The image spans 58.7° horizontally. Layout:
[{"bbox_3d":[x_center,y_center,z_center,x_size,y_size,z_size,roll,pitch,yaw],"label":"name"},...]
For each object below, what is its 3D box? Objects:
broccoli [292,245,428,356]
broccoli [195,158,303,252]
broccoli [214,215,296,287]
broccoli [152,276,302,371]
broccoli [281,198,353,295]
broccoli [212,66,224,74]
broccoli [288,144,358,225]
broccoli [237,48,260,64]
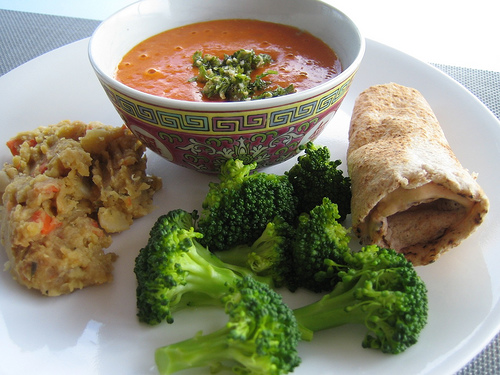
[{"bbox_3d":[0.447,0.549,2.078,0.691,0.497,0.486,-11,-2,20],"label":"broccoli"},{"bbox_3d":[0.299,-0.043,2.375,0.400,0.258,0.539,-16,25,-24],"label":"broccoli"},{"bbox_3d":[0.065,0.325,2.224,0.432,0.249,0.375,-6,32,24],"label":"broccoli"},{"bbox_3d":[-0.111,0.598,1.849,0.600,0.253,0.362,-3,56,-5],"label":"broccoli"},{"bbox_3d":[0.316,0.256,2.181,0.314,0.393,0.449,9,17,20],"label":"broccoli"},{"bbox_3d":[-0.170,-0.633,2.391,0.030,0.028,0.080,-30,44,-24],"label":"broccoli"},{"bbox_3d":[0.368,-0.024,2.376,0.371,0.125,0.396,-9,73,-23],"label":"broccoli"},{"bbox_3d":[-0.008,-0.756,2.486,0.100,0.034,0.096,12,35,6],"label":"broccoli"}]
